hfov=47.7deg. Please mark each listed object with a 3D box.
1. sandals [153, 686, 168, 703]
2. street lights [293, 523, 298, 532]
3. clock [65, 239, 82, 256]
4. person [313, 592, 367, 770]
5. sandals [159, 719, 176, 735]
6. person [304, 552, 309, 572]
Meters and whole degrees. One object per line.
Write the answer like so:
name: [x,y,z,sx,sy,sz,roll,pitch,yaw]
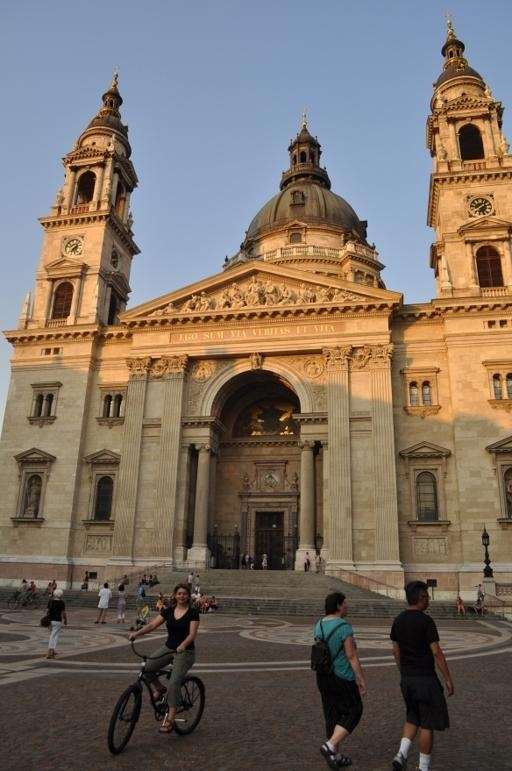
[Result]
sandals: [-1.077,3.501,6.537,0.095,0.093,0.253,3,3,4]
street lights: [2.633,9.633,39.061,0.290,0.550,0.102,9,-21,-24]
clock: [-14.414,-10.833,45.590,1.703,1.688,0.109,-6,-20,18]
person: [0.776,2.781,5.484,0.477,1.541,1.250,-2,-19,7]
sandals: [-0.966,3.709,6.288,0.096,0.107,0.274,0,-25,-1]
person: [2.858,10.008,32.956,0.316,0.957,0.679,-1,-19,3]
